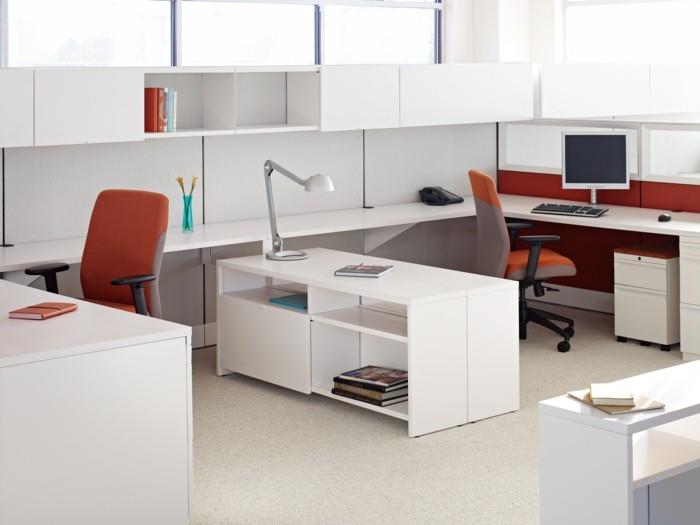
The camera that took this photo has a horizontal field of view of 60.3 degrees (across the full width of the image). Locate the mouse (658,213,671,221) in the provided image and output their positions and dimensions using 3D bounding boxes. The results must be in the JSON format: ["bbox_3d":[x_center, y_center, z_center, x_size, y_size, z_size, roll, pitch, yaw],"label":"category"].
[{"bbox_3d":[2.450,-0.343,4.684,0.087,0.045,0.088,3,9,18],"label":"mouse"}]

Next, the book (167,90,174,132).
[{"bbox_3d":[-1.282,-1.095,4.309,0.052,0.344,0.255,-2,8,-16],"label":"book"}]

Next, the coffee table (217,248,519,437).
[{"bbox_3d":[0.070,0.446,3.933,1.886,0.879,0.744,6,13,36],"label":"coffee table"}]

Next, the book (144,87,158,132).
[{"bbox_3d":[-1.399,-1.073,4.250,0.060,0.244,0.242,-2,6,-14],"label":"book"}]

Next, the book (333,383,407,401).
[{"bbox_3d":[0.100,0.776,3.603,0.175,0.034,0.174,7,9,43],"label":"book"}]

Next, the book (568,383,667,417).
[{"bbox_3d":[0.791,0.401,1.801,0.217,0.048,0.235,-5,11,-20],"label":"book"}]

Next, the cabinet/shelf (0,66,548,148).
[{"bbox_3d":[-0.363,-1.315,4.799,4.260,0.696,0.559,-6,12,-25],"label":"cabinet/shelf"}]
